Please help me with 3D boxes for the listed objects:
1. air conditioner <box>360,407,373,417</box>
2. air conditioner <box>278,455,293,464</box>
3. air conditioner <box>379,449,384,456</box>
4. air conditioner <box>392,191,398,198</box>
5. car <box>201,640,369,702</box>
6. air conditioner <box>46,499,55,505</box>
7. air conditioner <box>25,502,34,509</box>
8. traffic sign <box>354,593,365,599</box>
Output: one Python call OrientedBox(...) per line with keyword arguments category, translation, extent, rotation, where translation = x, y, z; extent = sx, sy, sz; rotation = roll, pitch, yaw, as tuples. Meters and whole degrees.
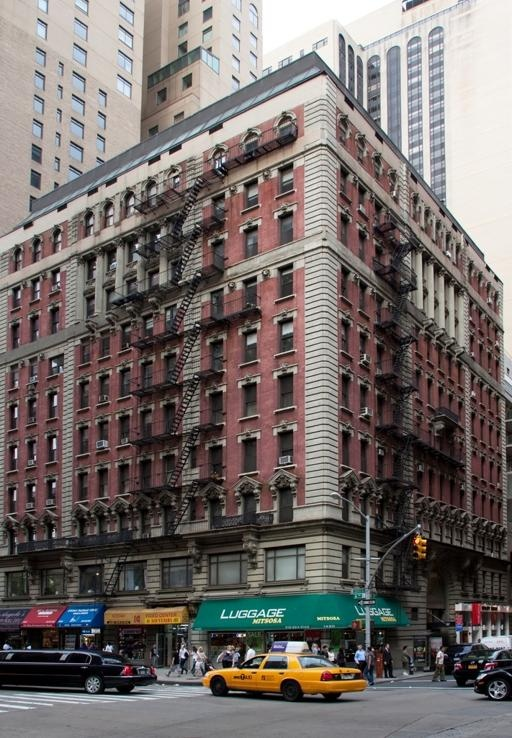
OrientedBox(category="air conditioner", translation=(6.057, 2.611, 84.623), extent=(0.426, 0.596, 0.811), rotation=(-6, -8, 28))
OrientedBox(category="air conditioner", translation=(1.568, 4.908, 80.935), extent=(0.407, 0.481, 0.744), rotation=(16, -22, -42))
OrientedBox(category="air conditioner", translation=(7.016, 4.786, 86.305), extent=(0.191, 0.374, 0.785), rotation=(-5, -19, 19))
OrientedBox(category="air conditioner", translation=(8.455, -10.699, 94.333), extent=(0.254, 0.473, 0.477), rotation=(-4, -8, 26))
OrientedBox(category="car", translation=(1.150, 12.727, 63.947), extent=(5.875, 1.735, 2.551), rotation=(-11, -21, 37))
OrientedBox(category="air conditioner", translation=(-12.475, 8.309, 94.477), extent=(0.600, 0.407, 0.314), rotation=(-10, -20, 36))
OrientedBox(category="air conditioner", translation=(-14.011, 8.714, 96.355), extent=(0.527, 0.375, 0.296), rotation=(-6, -19, 19))
OrientedBox(category="traffic sign", translation=(5.157, 11.427, 76.807), extent=(0.571, 0.428, 0.335), rotation=(-1, 0, 23))
